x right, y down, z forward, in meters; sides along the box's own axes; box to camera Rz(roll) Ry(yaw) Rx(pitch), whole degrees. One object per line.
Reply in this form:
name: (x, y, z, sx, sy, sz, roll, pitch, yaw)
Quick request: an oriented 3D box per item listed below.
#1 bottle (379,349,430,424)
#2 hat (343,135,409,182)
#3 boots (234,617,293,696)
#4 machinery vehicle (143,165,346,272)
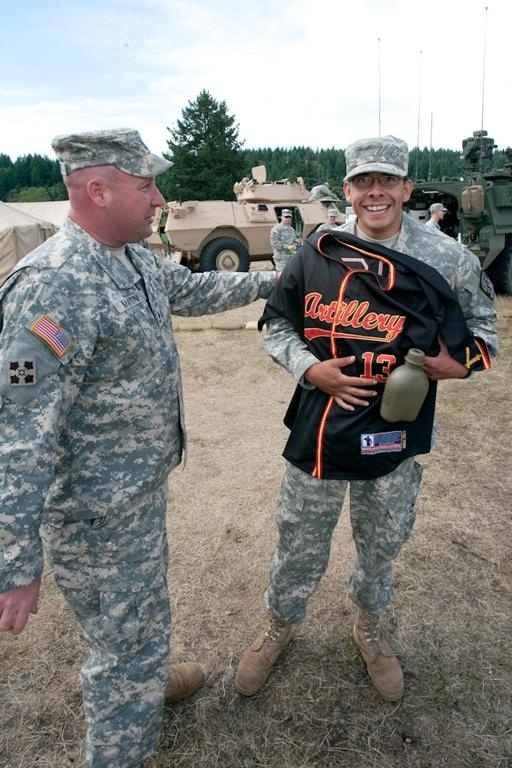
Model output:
bottle: (0.454, 0.013, 1.732, 0.167, 0.235, 0.096, -9, 18, -22)
hat: (0.364, -0.682, 1.817, 0.192, 0.123, 0.170, 1, 16, 11)
boots: (0.075, 0.963, 2.185, 0.112, 0.138, 0.339, 28, 19, 16)
machinery vehicle: (0.098, -3.554, 13.139, 4.234, 2.276, 1.981, -7, 18, -15)
